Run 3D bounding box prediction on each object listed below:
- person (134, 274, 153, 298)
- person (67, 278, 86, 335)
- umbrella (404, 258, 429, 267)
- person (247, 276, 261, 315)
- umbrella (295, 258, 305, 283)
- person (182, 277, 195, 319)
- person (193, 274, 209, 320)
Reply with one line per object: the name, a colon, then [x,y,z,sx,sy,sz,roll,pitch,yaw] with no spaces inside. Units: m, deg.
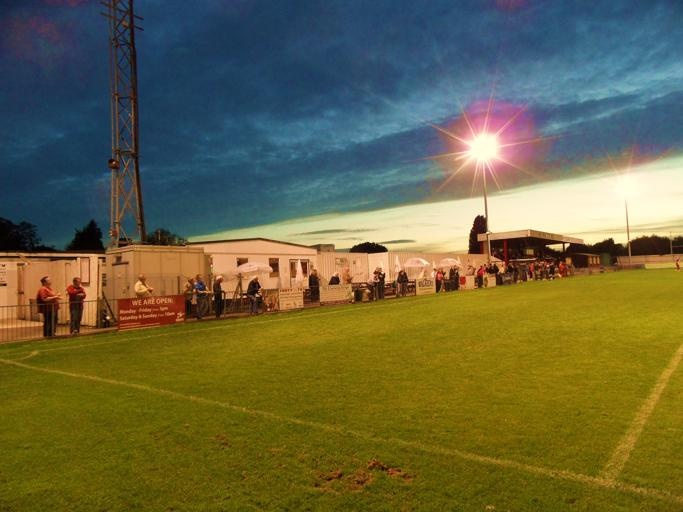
person: [-7.788,1.102,20.505,0.535,0.830,1.662,-5,9,-24]
person: [-9.490,1.735,18.841,0.542,1.785,1.322,-6,9,-28]
umbrella: [5.142,0.413,36.463,0.893,0.416,1.024,1,-6,-10]
person: [-3.982,1.766,24.057,0.565,1.576,0.982,-3,8,-7]
umbrella: [-2.518,0.840,31.379,0.312,1.355,0.894,0,8,14]
person: [-6.452,1.801,22.319,0.445,1.578,1.437,-4,8,-16]
person: [-6.001,1.702,22.468,0.555,1.990,1.464,-4,8,-15]
